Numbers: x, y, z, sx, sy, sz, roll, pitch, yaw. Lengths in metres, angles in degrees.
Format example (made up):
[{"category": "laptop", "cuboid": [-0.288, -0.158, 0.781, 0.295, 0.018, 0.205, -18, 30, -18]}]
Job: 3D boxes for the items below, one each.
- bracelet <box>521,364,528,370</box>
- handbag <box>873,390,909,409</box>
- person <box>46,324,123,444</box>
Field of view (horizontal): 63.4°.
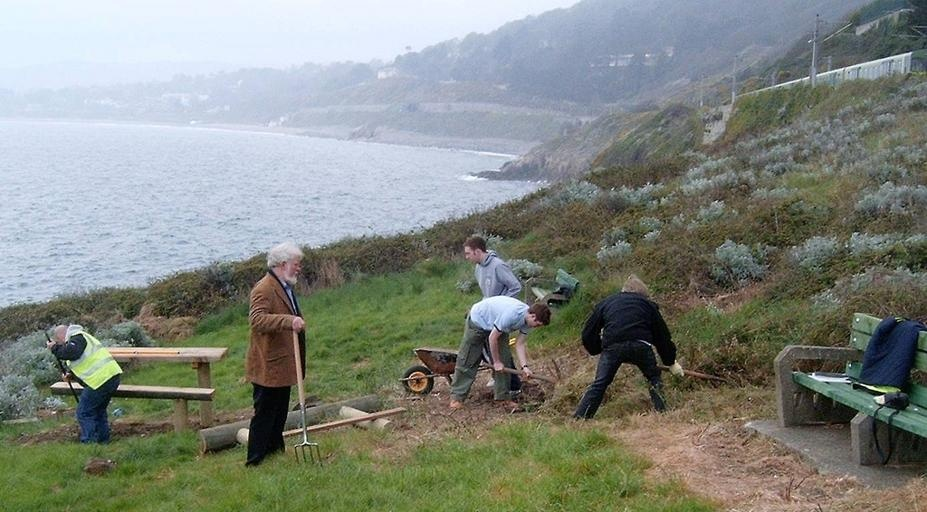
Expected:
[{"category": "bracelet", "cuboid": [1.528, 2.776, 18.586, 0.098, 0.111, 0.103, -5, 16, -7]}, {"category": "handbag", "cuboid": [9.254, 3.144, 16.233, 0.377, 0.286, 0.579, -6, 11, -43]}, {"category": "person", "cuboid": [-9.491, 3.220, 18.977, 1.278, 2.875, 1.102, 10, 14, 38]}]
